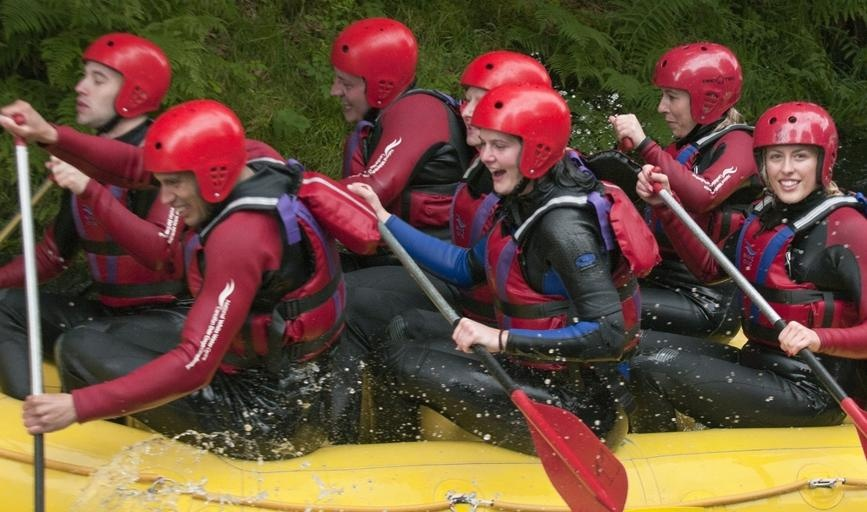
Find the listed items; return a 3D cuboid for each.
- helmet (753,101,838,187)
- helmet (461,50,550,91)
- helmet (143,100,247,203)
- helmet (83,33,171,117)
[{"bbox_3d":[2.370,-0.705,6.357,0.460,0.505,0.567,2,10,40],"label":"helmet"},{"bbox_3d":[0.523,-1.275,6.688,0.666,0.231,0.472,7,24,-1],"label":"helmet"},{"bbox_3d":[-1.376,-0.652,5.709,0.643,0.495,0.484,-10,40,-17],"label":"helmet"},{"bbox_3d":[-2.021,-1.174,6.383,0.642,0.481,0.470,8,10,-39],"label":"helmet"}]
